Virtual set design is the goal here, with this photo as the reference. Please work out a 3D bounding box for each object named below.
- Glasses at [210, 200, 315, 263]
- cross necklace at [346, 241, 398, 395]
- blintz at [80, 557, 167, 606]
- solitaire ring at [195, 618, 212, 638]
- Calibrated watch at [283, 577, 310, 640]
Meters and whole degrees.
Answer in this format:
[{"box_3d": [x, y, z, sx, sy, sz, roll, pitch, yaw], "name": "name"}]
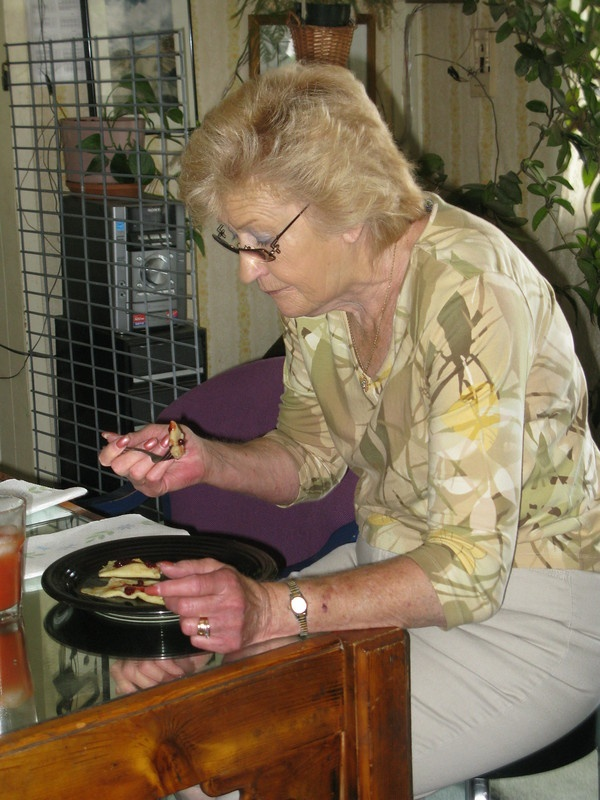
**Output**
[{"box_3d": [-0.041, -0.190, 0.976, 0.098, 0.027, 0.097, -44, 39, -20], "name": "Glasses"}, {"box_3d": [0.102, -0.114, 1.066, 0.058, 0.165, 0.010, 7, 5, 20], "name": "cross necklace"}, {"box_3d": [-0.183, 0.192, 0.810, 0.077, 0.009, 0.062, 4, 16, 2], "name": "blintz"}, {"box_3d": [-0.082, 0.199, 0.675, 0.011, 0.013, 0.017, 1, -3, 0], "name": "solitaire ring"}, {"box_3d": [-0.002, 0.193, 0.732, 0.014, 0.044, 0.026, -18, -23, -2], "name": "Calibrated watch"}]
